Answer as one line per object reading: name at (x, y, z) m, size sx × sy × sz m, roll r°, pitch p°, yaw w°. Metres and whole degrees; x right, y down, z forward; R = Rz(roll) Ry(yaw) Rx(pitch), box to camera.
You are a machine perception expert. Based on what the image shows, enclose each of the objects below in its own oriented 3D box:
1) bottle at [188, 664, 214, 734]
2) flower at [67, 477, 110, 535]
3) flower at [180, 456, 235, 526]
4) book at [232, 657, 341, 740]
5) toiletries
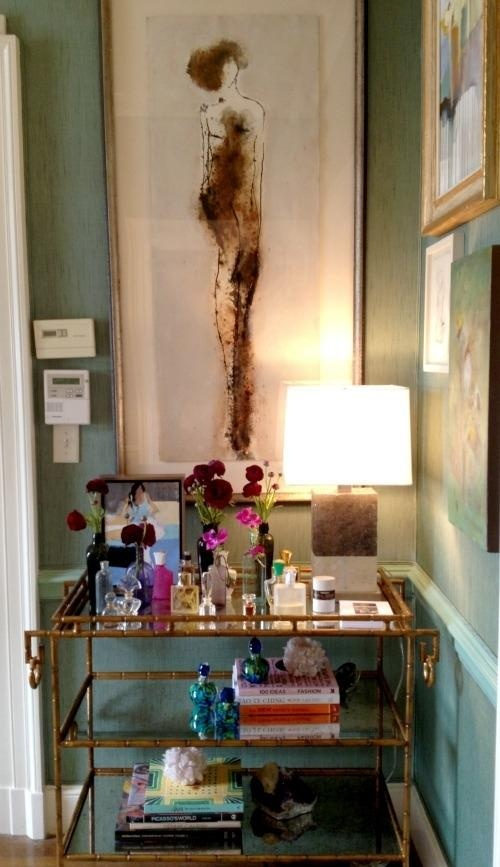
bottle at (-0.115, 0.660, 1.983) m, size 0.063 × 0.170 × 0.126 m, roll -2°, pitch -13°, yaw -4°
flower at (-0.440, 0.191, 2.173) m, size 0.108 × 0.213 × 0.116 m, roll 4°, pitch -8°, yaw 3°
flower at (-0.119, 0.130, 2.067) m, size 0.129 × 0.238 × 0.164 m, roll 1°, pitch 0°, yaw -13°
book at (0.086, 0.646, 1.963) m, size 0.247 × 0.194 × 0.203 m, roll -3°, pitch -13°, yaw -2°
toiletries at (-0.091, 0.378, 1.946) m, size 0.573 × 0.228 × 0.338 m, roll -5°, pitch -14°, yaw 3°
